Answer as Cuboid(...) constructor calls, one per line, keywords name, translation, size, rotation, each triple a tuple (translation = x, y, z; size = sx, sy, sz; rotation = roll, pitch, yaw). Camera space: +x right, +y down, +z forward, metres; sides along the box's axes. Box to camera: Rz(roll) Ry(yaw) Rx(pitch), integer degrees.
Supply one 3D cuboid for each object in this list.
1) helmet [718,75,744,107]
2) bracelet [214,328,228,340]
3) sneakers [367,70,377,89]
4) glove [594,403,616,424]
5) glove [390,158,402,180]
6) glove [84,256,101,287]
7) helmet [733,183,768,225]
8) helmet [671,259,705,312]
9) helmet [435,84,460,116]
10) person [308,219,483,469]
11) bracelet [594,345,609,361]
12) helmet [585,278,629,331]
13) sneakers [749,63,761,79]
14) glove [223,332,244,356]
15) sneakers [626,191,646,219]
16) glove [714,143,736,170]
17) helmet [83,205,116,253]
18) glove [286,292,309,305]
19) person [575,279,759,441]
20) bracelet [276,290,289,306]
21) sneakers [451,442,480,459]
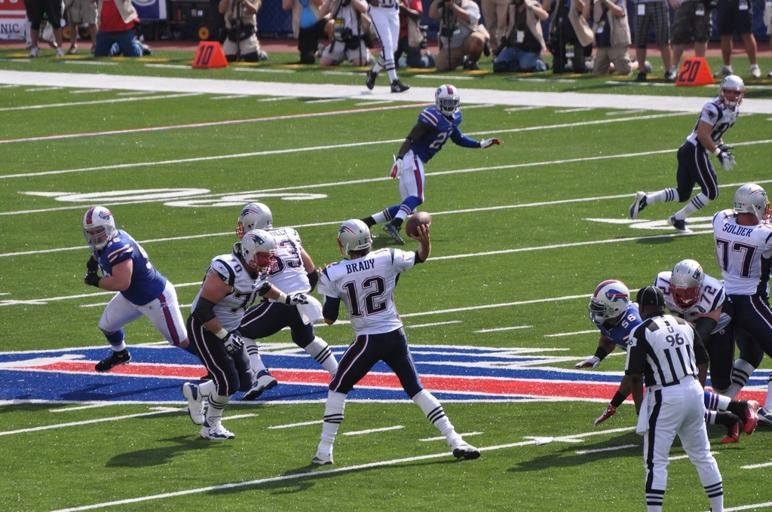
Cuboid(name="helmet", translation=(4.663, -2.182, 19.691), size=(0.308, 0.346, 0.407), rotation=(8, 5, 6))
Cuboid(name="bracelet", translation=(-1.660, 0.778, 14.923), size=(0.106, 0.081, 0.108), rotation=(-24, 17, 49))
Cuboid(name="sneakers", translation=(-0.269, -3.454, 29.054), size=(0.157, 0.429, 0.184), rotation=(-19, 40, -37))
Cuboid(name="glove", translation=(2.225, 1.580, 14.873), size=(0.110, 0.245, 0.080), rotation=(25, 30, -33))
Cuboid(name="glove", translation=(0.144, -1.184, 19.850), size=(0.097, 0.276, 0.200), rotation=(16, -7, 4))
Cuboid(name="glove", translation=(-3.193, 0.167, 15.888), size=(0.122, 0.336, 0.251), rotation=(-4, -19, 1))
Cuboid(name="helmet", translation=(3.817, -0.583, 15.758), size=(0.417, 0.406, 0.330), rotation=(-4, 13, -16))
Cuboid(name="helmet", translation=(3.003, 0.258, 14.670), size=(0.344, 0.452, 0.474), rotation=(7, 23, 33))
Cuboid(name="helmet", translation=(0.859, -2.095, 19.915), size=(0.317, 0.345, 0.403), rotation=(0, 6, -13))
Cuboid(name="person", translation=(-0.067, 0.818, 14.453), size=(1.353, 2.319, 0.556), rotation=(-1, 6, -2))
Cuboid(name="bracelet", translation=(2.182, 0.986, 14.855), size=(0.053, 0.146, 0.142), rotation=(41, -40, -24))
Cuboid(name="helmet", translation=(2.257, 0.436, 14.716), size=(0.444, 0.437, 0.354), rotation=(3, 15, 13))
Cuboid(name="sneakers", translation=(7.583, -3.763, 29.995), size=(0.224, 0.280, 0.662), rotation=(-4, 10, 7))
Cuboid(name="glove", translation=(-1.567, 0.864, 15.109), size=(0.161, 0.218, 0.223), rotation=(-46, 9, -30))
Cuboid(name="sneakers", translation=(3.491, -0.705, 20.374), size=(0.196, 0.447, 0.162), rotation=(18, 15, -4))
Cuboid(name="glove", translation=(4.594, -1.339, 19.939), size=(0.241, 0.340, 0.363), rotation=(0, 6, 11))
Cuboid(name="helmet", translation=(-3.085, -0.341, 15.831), size=(0.345, 0.412, 0.455), rotation=(-9, 13, 8))
Cuboid(name="glove", translation=(-0.902, 0.432, 15.255), size=(0.122, 0.064, 0.146), rotation=(1, 7, 26))
Cuboid(name="person", translation=(2.858, 1.131, 14.845), size=(2.305, 1.320, 0.652), rotation=(15, -17, -21))
Cuboid(name="bracelet", translation=(-1.062, 0.421, 15.286), size=(0.112, 0.120, 0.139), rotation=(0, -6, -38))
Cuboid(name="sneakers", translation=(0.779, 1.880, 14.285), size=(0.318, 0.124, 0.166), rotation=(3, 30, 1))
